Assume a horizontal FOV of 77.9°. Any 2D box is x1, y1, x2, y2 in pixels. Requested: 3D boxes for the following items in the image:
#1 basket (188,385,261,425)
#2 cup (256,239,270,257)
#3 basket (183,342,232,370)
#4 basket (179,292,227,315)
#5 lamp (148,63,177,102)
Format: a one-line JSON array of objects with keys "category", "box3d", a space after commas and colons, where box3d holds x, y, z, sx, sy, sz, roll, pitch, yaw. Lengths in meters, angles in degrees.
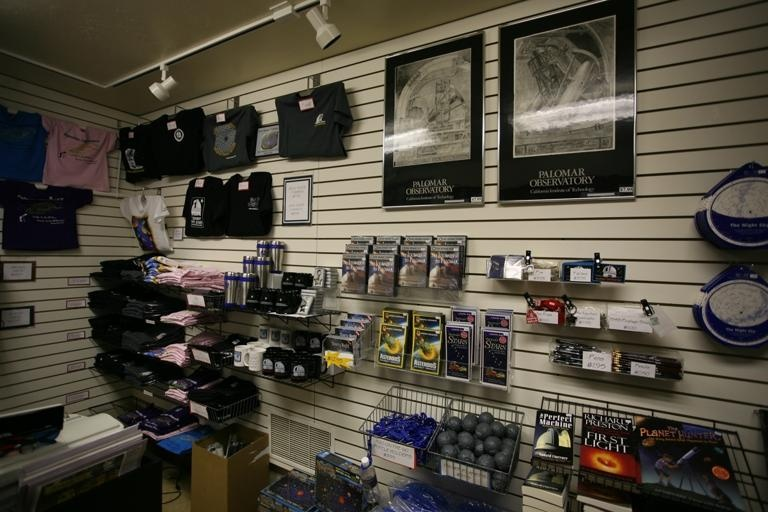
[{"category": "basket", "box3d": [-1.651, 1.508, 5.015, 0.476, 0.196, 0.521, -2, -5, 40]}, {"category": "cup", "box3d": [-1.267, -0.081, 5.009, 0.154, 0.252, 0.158, -1, 0, 0]}, {"category": "basket", "box3d": [-1.856, 1.042, 5.054, 0.482, 0.215, 0.148, 3, 2, 18]}, {"category": "basket", "box3d": [-1.906, 0.492, 5.139, 0.524, 0.259, 0.316, 3, 2, 25]}, {"category": "lamp", "box3d": [-2.422, -1.871, 5.188, 0.223, 0.377, 0.587, 1, 2, -23]}]
